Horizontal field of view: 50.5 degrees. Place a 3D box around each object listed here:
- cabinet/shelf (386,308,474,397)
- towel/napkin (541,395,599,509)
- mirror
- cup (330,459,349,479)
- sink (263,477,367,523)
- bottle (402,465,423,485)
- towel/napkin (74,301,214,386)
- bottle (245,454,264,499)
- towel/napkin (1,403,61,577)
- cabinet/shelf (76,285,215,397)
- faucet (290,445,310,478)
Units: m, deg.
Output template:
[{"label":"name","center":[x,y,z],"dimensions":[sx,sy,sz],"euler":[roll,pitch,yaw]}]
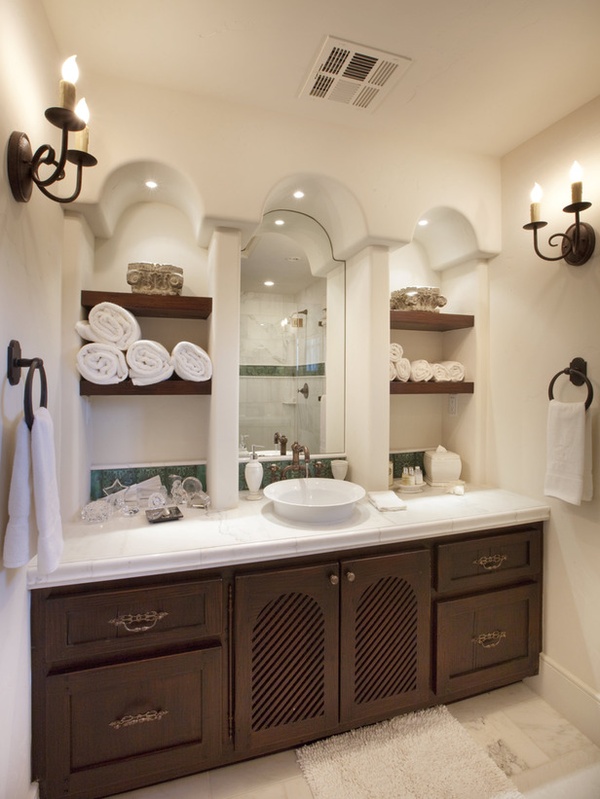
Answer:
[{"label":"cabinet/shelf","center":[0.603,-0.222,2.971],"dimensions":[0.434,0.368,0.142],"euler":[0,1,-13]},{"label":"towel/napkin","center":[1.015,0.205,2.409],"dimensions":[0.102,0.403,0.229],"euler":[-1,11,-10]},{"label":"mirror","center":[-0.028,-0.297,2.862],"dimensions":[0.504,1.095,0.350],"euler":[-1,11,-8]},{"label":"cup","center":[0.178,0.302,2.816],"dimensions":[0.080,0.091,0.081],"euler":[3,2,0]},{"label":"sink","center":[0.049,0.391,2.435],"dimensions":[0.410,0.124,0.427],"euler":[2,11,5]},{"label":"bottle","center":[0.515,0.349,2.928],"dimensions":[0.072,0.068,0.028],"euler":[5,-7,-36]},{"label":"towel/napkin","center":[-0.602,-0.172,2.377],"dimensions":[0.370,0.313,0.113],"euler":[-8,-2,-27]},{"label":"bottle","center":[-0.196,0.325,2.691],"dimensions":[0.083,0.170,0.196],"euler":[0,11,-3]},{"label":"towel/napkin","center":[-0.744,0.276,1.761],"dimensions":[0.136,0.481,0.291],"euler":[-2,11,-15]},{"label":"cabinet/shelf","center":[-0.594,-0.217,2.382],"dimensions":[0.447,0.395,0.158],"euler":[-1,-1,-21]},{"label":"faucet","center":[0.001,0.270,2.768],"dimensions":[0.083,0.176,0.163],"euler":[1,11,1]}]
